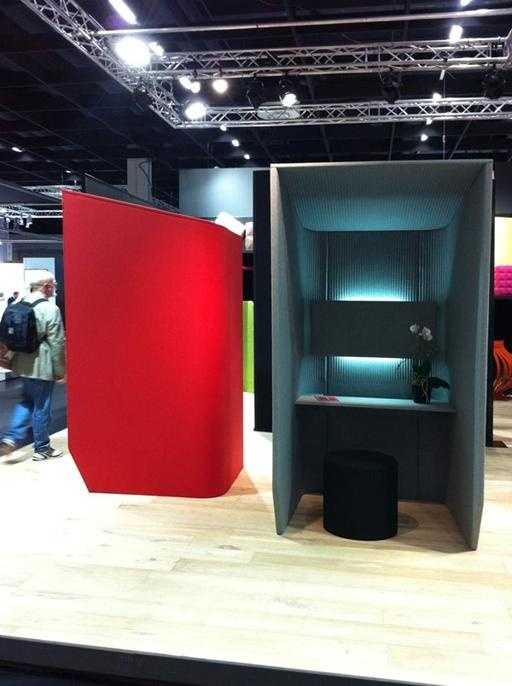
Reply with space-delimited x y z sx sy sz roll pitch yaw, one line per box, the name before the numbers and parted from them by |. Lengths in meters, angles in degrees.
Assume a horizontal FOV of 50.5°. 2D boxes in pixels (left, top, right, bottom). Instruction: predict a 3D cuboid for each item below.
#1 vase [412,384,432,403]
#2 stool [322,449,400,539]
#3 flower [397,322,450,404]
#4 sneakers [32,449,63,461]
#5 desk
vase | 0.960 0.287 3.132 0.091 0.109 0.132 0 3 11
stool | 0.575 0.793 2.965 0.419 0.411 0.417 1 9 15
flower | 0.987 0.115 3.150 0.237 0.434 0.235 10 8 37
sneakers | -1.706 0.874 4.419 0.197 0.081 0.099 -5 10 -28
desk | 0.741 0.860 3.067 1.000 0.690 0.717 0 0 14
